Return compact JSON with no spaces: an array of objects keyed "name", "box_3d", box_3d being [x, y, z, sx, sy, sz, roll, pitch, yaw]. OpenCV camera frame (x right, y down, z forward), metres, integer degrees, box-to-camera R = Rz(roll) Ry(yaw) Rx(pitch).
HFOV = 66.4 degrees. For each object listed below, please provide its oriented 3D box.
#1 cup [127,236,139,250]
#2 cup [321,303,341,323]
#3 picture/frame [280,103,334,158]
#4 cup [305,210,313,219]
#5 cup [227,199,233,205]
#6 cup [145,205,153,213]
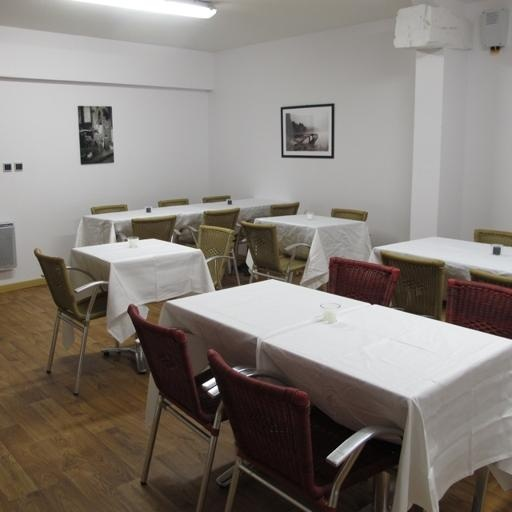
[{"name":"cup","box_3d":[-1.050,-0.129,3.338,0.062,0.072,0.087,1,0,1]},{"name":"cup","box_3d":[0.323,0.243,1.697,0.061,0.056,0.066,0,14,0]},{"name":"picture/frame","box_3d":[0.788,-1.887,5.821,0.726,0.718,0.031,12,18,42]},{"name":"cup","box_3d":[0.650,-0.509,4.772,0.097,0.091,0.098,3,4,0]},{"name":"cup","box_3d":[-0.388,-0.802,5.783,0.076,0.088,0.076,1,5,0]},{"name":"cup","box_3d":[-1.399,-0.611,5.070,0.101,0.120,0.096,1,4,0]}]
